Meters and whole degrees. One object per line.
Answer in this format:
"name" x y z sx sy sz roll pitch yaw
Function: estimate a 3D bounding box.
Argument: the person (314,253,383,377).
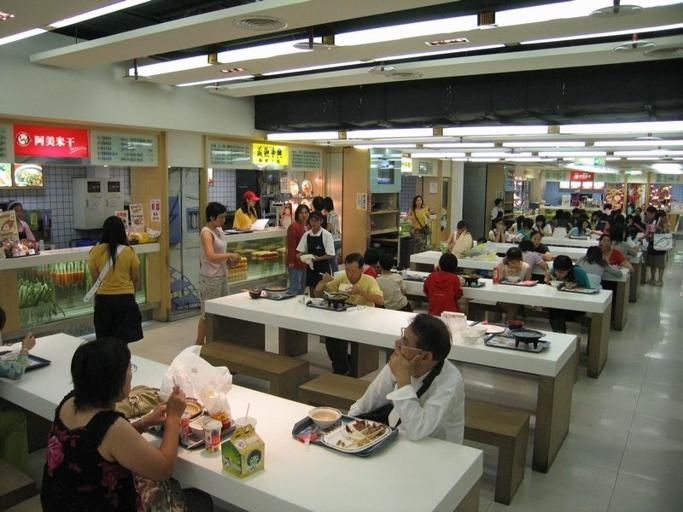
"person" 0.050 0.675 6.003 0.814 1.419 0.753 8 14 15

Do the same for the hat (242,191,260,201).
"hat" -1.668 -1.035 9.375 0.301 0.119 0.206 8 25 23

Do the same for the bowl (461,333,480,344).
"bowl" 1.099 0.691 4.447 0.108 0.052 0.111 0 7 0

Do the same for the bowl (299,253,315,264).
"bowl" -0.410 0.053 6.358 0.124 0.080 0.175 -5 14 -16

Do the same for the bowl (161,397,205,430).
"bowl" -0.971 0.961 3.163 0.225 0.079 0.232 0 1 0

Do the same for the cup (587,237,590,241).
"cup" 5.430 -0.373 11.504 0.044 0.081 0.081 6 17 44

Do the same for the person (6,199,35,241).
"person" -4.336 -0.462 7.063 0.279 0.542 1.061 -4 16 -31

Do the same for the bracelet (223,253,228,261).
"bracelet" -1.370 0.006 6.173 0.054 0.057 0.057 4 -8 -40

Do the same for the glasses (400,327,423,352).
"glasses" 0.423 0.530 3.276 0.137 0.042 0.134 31 10 -13

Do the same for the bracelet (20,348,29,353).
"bracelet" -2.419 0.719 3.978 0.031 0.024 0.031 3 -2 -43

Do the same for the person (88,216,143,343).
"person" -2.415 0.393 5.575 0.582 1.665 0.437 -3 20 -32

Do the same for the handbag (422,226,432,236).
"handbag" 1.941 -0.580 11.982 0.156 0.228 0.077 0 -6 -33

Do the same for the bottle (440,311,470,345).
"bottle" 0.926 0.595 4.268 0.283 0.286 0.211 4 7 34

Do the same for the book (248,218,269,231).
"book" -1.483 -0.527 9.298 0.269 0.188 0.197 -7 -10 -37

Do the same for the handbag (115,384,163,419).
"handbag" -1.312 0.949 3.415 0.163 0.068 0.223 11 13 28
